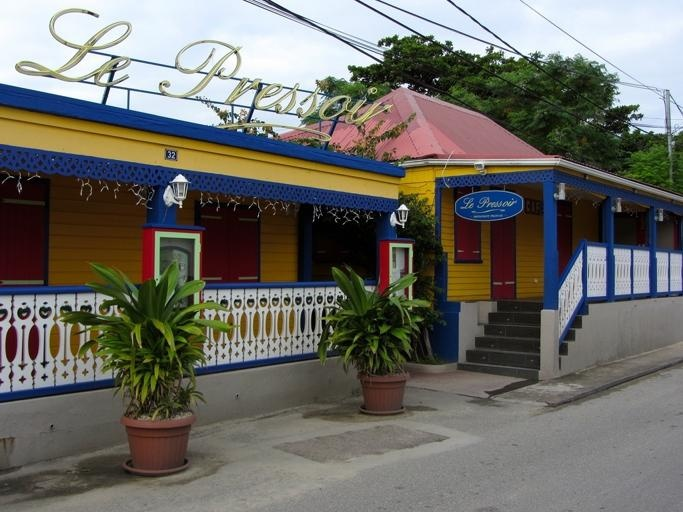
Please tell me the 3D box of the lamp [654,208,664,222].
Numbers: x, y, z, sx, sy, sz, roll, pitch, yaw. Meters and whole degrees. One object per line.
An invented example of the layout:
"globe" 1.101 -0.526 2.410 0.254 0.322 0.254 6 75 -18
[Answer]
"lamp" 8.861 -1.181 17.117 0.140 0.322 0.389 0 0 34

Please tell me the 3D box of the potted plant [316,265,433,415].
"potted plant" 0.532 1.366 10.244 2.100 2.314 1.761 0 -2 2

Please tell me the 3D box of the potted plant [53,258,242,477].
"potted plant" -2.153 1.394 7.835 2.179 2.607 2.255 3 -8 -15

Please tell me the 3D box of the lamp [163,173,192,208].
"lamp" -2.222 -0.912 8.596 0.404 0.516 0.367 -5 -3 30
